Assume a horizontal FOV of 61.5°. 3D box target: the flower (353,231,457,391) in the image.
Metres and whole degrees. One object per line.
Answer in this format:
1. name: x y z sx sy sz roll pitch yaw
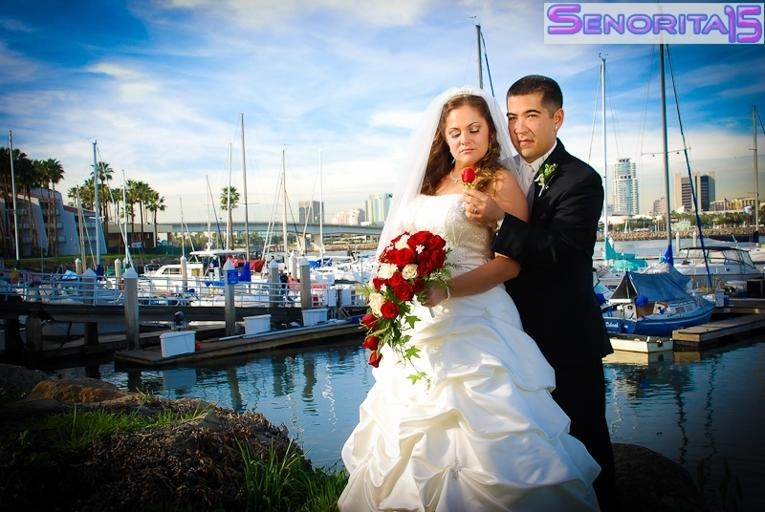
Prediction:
1. flower: 0.135 0.449 5.852 0.711 1.290 0.974 -6 -3 -18

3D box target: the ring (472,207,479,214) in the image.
1. ring: 0.815 -0.404 5.619 0.057 0.039 0.075 -1 0 11

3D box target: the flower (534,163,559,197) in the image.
1. flower: 1.478 -0.693 5.855 0.179 0.283 0.113 7 4 26

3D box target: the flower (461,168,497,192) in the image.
1. flower: 0.872 -0.710 5.796 0.260 0.198 0.124 -6 -36 -9
